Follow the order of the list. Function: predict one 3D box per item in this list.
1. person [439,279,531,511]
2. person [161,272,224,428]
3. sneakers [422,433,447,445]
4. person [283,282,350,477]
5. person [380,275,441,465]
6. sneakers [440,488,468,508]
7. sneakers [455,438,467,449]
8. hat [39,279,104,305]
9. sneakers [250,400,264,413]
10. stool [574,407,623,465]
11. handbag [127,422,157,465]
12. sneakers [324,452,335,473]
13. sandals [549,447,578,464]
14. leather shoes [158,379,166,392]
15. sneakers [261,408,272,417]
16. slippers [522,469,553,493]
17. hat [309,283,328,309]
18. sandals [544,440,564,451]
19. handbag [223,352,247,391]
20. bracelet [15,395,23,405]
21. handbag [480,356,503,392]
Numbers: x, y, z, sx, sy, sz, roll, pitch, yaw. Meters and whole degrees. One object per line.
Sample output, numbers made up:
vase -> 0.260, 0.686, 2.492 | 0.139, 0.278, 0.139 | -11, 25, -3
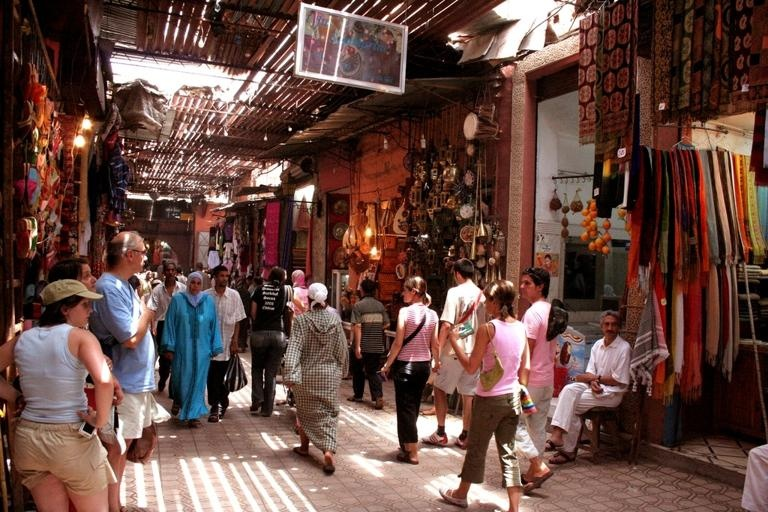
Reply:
person -> 0.964, 1.288, 5.466 | 0.721, 2.134, 0.481 | 0, -2, 12
person -> -2.438, 1.138, 7.594 | 0.723, 1.834, 0.235 | 2, -2, -20
sneakers -> 0.605, 2.236, 7.324 | 0.319, 0.148, 0.121 | 3, -2, 24
person -> -0.751, 1.299, 6.542 | 0.676, 1.981, 0.573 | 1, -2, 1
person -> 0.338, 1.276, 6.803 | 0.432, 2.071, 0.737 | 0, -2, 30
sneakers -> 0.655, 2.296, 5.624 | 0.110, 0.112, 0.263 | 2, 11, -46
sneakers -> 0.942, 2.281, 7.175 | 0.094, 0.093, 0.210 | 4, -8, -18
hat -> -2.169, 0.215, 4.109 | 0.315, 0.133, 0.202 | -2, 2, -31
sneakers -> -1.795, 2.182, 8.422 | 0.116, 0.141, 0.359 | 3, -43, -27
stool -> 2.523, 2.084, 7.056 | 0.551, 0.629, 0.545 | -1, -5, 31
handbag -> -2.069, 1.661, 5.233 | 0.249, 0.349, 0.140 | 3, -11, 27
sneakers -> -0.565, 2.187, 6.253 | 0.083, 0.244, 0.099 | -3, 16, 1
sandals -> 2.093, 2.311, 6.834 | 0.369, 0.108, 0.134 | 1, 4, -15
leather shoes -> -3.507, 2.088, 9.442 | 0.086, 0.216, 0.088 | 6, 14, -10
sneakers -> -1.609, 2.165, 8.170 | 0.153, 0.118, 0.091 | 1, -9, 1
slippers -> 1.513, 2.278, 5.944 | 0.384, 0.143, 0.151 | -42, -3, 21
hat -> -0.744, 0.440, 6.805 | 0.192, 0.272, 0.260 | 2, 10, -5
sandals -> 2.075, 2.279, 7.139 | 0.319, 0.091, 0.129 | 5, -6, -29
handbag -> -1.943, 1.531, 7.871 | 0.255, 0.637, 0.332 | -6, -23, 2
bracelet -> -2.487, 0.990, 4.069 | 0.047, 0.048, 0.013 | -20, -15, -42
handbag -> 0.952, 1.040, 5.315 | 0.242, 0.347, 0.101 | -11, 19, -9
